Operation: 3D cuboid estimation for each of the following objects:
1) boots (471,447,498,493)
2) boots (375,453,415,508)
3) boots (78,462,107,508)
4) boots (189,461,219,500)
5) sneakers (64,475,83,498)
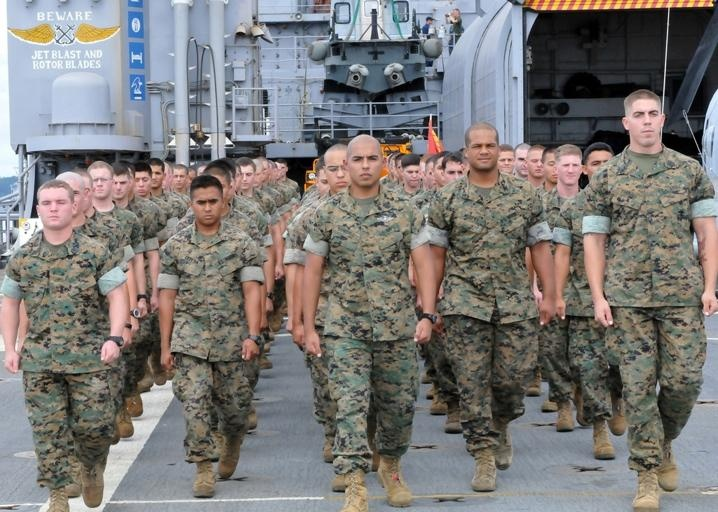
[{"bbox_3d":[0.912,1.524,7.952,0.185,0.286,0.341,-2,8,6],"label":"boots"},{"bbox_3d":[0.271,1.560,7.694,0.227,0.313,0.346,-3,8,-4],"label":"boots"},{"bbox_3d":[-1.855,1.586,7.700,0.141,0.335,0.151,-8,11,-16],"label":"boots"},{"bbox_3d":[-1.128,1.598,7.977,0.150,0.237,0.402,-3,2,-5],"label":"boots"},{"bbox_3d":[-1.927,1.562,7.441,0.105,0.141,0.097,14,-16,-10],"label":"sneakers"}]
